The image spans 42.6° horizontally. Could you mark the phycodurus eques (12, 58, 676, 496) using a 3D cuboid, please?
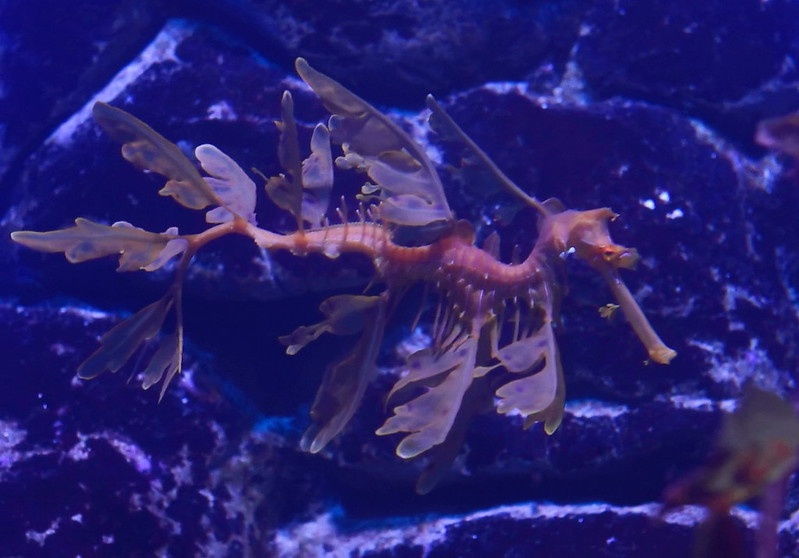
[{"bbox_3d":[-0.090,0.005,2.643,1.509,0.447,1.022,21,83,3],"label":"phycodurus eques"}]
